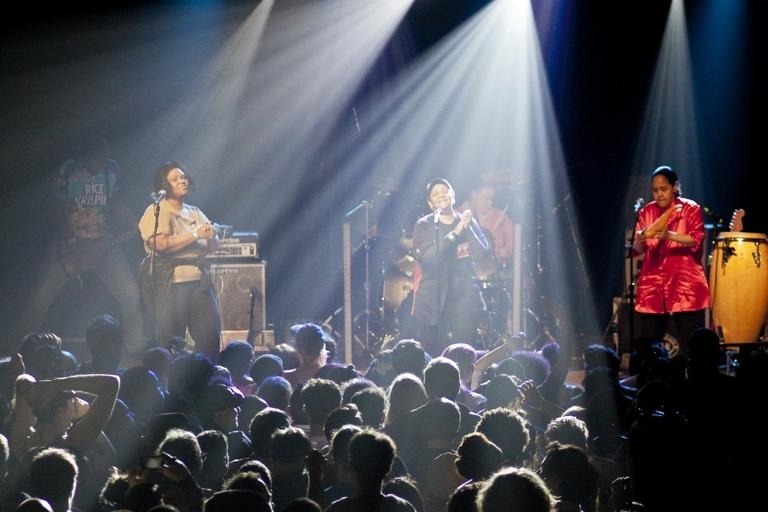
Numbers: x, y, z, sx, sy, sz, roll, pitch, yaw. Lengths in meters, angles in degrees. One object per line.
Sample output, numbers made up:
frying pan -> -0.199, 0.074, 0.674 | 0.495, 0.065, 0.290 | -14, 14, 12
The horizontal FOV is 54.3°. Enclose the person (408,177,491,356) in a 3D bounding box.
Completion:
person -> 0.935, 0.470, 10.143 | 1.021, 3.026, 0.939 | -2, 18, 8

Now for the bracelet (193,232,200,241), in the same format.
bracelet -> -2.025, -0.209, 8.089 | 0.073, 0.071, 0.129 | 5, 11, 0

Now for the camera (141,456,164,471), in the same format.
camera -> -1.611, 1.435, 5.200 | 0.130, 0.095, 0.031 | -2, 5, -16

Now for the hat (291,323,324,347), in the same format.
hat -> -0.739, 0.753, 7.353 | 0.203, 0.248, 0.262 | -1, 10, -5

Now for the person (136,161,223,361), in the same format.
person -> -2.151, 0.328, 8.366 | 0.886, 2.527, 0.856 | -12, 22, -30
